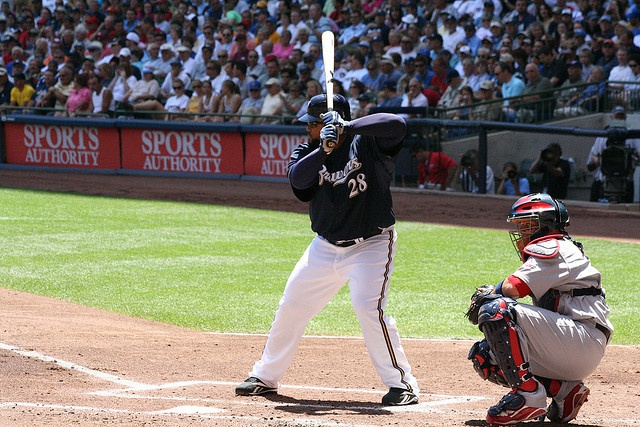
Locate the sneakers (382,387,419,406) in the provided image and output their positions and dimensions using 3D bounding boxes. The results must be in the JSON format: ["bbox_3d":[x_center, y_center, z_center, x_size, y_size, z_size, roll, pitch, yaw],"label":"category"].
[{"bbox_3d":[1.111,2.542,18.747,0.521,0.187,0.209,-1,2,-6],"label":"sneakers"}]

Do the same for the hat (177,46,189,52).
[{"bbox_3d":[-3.092,-3.716,30.463,0.254,0.142,0.230,-1,3,-6],"label":"hat"}]

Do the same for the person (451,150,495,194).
[{"bbox_3d":[3.048,-0.823,26.718,0.752,0.872,0.440,0,4,19],"label":"person"}]

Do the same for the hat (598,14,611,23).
[{"bbox_3d":[5.785,-3.952,27.318,0.257,0.103,0.384,0,9,21],"label":"hat"}]

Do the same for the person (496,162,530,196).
[{"bbox_3d":[3.809,-0.675,26.392,0.599,0.656,0.663,-1,4,0],"label":"person"}]

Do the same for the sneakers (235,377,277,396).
[{"bbox_3d":[-0.926,2.442,19.033,0.612,0.211,0.223,4,-3,-7],"label":"sneakers"}]

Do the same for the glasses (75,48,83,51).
[{"bbox_3d":[-5.996,-4.051,33.320,0.155,0.063,0.161,-4,1,-3],"label":"glasses"}]

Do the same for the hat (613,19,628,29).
[{"bbox_3d":[6.016,-3.771,26.853,0.216,0.135,0.233,4,13,21],"label":"hat"}]

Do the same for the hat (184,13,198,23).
[{"bbox_3d":[-3.185,-4.831,33.193,0.266,0.099,0.363,-11,18,-20],"label":"hat"}]

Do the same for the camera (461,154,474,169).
[{"bbox_3d":[2.903,-1.021,26.557,0.244,0.262,0.314,6,2,21],"label":"camera"}]

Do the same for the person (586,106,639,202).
[{"bbox_3d":[5.591,-1.118,25.638,1.038,1.823,0.846,0,4,19],"label":"person"}]

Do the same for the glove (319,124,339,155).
[{"bbox_3d":[0.133,-1.029,18.495,0.251,0.385,0.147,-1,4,-1],"label":"glove"}]

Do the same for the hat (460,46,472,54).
[{"bbox_3d":[3.049,-3.435,28.276,0.234,0.188,0.296,-1,3,0],"label":"hat"}]

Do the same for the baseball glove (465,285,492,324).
[{"bbox_3d":[2.187,1.217,18.419,0.221,0.504,0.394,32,-11,-15],"label":"baseball glove"}]

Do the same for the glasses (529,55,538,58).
[{"bbox_3d":[4.313,-3.164,27.133,0.103,0.089,0.049,-4,-2,18],"label":"glasses"}]

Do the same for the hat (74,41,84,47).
[{"bbox_3d":[-6.105,-4.292,34.064,0.252,0.098,0.355,-4,9,-15],"label":"hat"}]

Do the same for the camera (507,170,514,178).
[{"bbox_3d":[3.715,-0.770,26.133,0.113,0.149,0.170,-5,5,-44],"label":"camera"}]

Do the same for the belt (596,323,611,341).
[{"bbox_3d":[3.890,1.597,18.363,0.091,0.242,0.185,-47,-10,27],"label":"belt"}]

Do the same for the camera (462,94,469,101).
[{"bbox_3d":[2.943,-2.342,27.220,0.159,0.127,0.051,0,4,14],"label":"camera"}]

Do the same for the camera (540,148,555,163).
[{"bbox_3d":[4.374,-1.106,25.872,0.272,0.229,0.227,-8,-27,6],"label":"camera"}]

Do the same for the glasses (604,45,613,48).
[{"bbox_3d":[5.721,-3.320,26.734,0.106,0.061,0.161,-3,-5,17],"label":"glasses"}]

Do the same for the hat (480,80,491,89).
[{"bbox_3d":[3.334,-2.570,26.970,0.292,0.179,0.189,-1,4,9],"label":"hat"}]

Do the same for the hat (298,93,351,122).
[{"bbox_3d":[0.070,-1.482,18.892,0.619,0.262,0.359,-2,7,0],"label":"hat"}]

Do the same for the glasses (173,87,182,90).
[{"bbox_3d":[-3.138,-2.761,29.680,0.234,0.077,0.156,-1,3,6],"label":"glasses"}]

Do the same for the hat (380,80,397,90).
[{"bbox_3d":[1.414,-2.627,27.769,0.303,0.175,0.273,0,9,-9],"label":"hat"}]
